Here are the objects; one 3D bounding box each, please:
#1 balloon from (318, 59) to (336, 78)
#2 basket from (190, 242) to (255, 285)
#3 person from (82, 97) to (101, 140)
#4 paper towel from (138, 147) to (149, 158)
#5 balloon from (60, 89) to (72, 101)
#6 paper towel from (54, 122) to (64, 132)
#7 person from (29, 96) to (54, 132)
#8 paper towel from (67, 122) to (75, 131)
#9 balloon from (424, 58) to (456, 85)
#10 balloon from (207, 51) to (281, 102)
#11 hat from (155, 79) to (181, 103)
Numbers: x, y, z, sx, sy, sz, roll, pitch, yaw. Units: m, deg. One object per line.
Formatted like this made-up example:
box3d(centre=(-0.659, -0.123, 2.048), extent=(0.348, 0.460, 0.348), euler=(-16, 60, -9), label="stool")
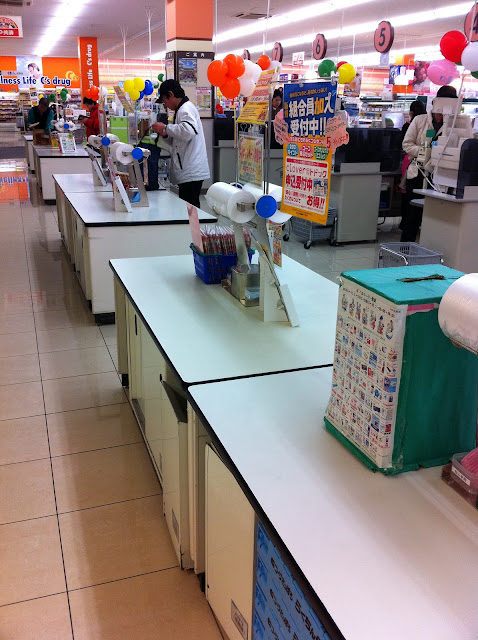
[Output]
box3d(centre=(1.445, -4.133, 7.405), extent=(0.233, 0.305, 0.732), euler=(2, 23, 7), label="balloon")
box3d(centre=(-0.099, -0.278, 2.532), extent=(0.321, 0.240, 0.442), euler=(-2, 15, -18), label="basket")
box3d(centre=(-3.249, -4.448, 9.893), extent=(0.339, 0.831, 2.415), euler=(-7, 23, -16), label="person")
box3d(centre=(-0.852, -1.509, 4.038), extent=(0.074, 0.062, 0.110), euler=(-13, 41, -18), label="paper towel")
box3d(centre=(-4.279, -5.502, 11.056), extent=(0.166, 0.300, 0.701), euler=(-9, 24, -21), label="balloon")
box3d(centre=(-3.830, -4.122, 9.653), extent=(0.148, 0.200, 0.429), euler=(-8, 23, -19), label="paper towel")
box3d(centre=(-5.110, -5.242, 11.581), extent=(0.603, 0.879, 1.323), euler=(-11, 24, -25), label="person")
box3d(centre=(-3.656, -4.155, 9.753), extent=(0.159, 0.185, 0.576), euler=(-6, 23, -13), label="paper towel")
box3d(centre=(3.103, -3.729, 6.817), extent=(0.445, 0.362, 0.314), euler=(3, 21, 8), label="balloon")
box3d(centre=(0.004, -1.294, 2.406), extent=(0.266, 0.217, 0.356), euler=(-14, 25, -29), label="balloon")
box3d(centre=(-0.755, -2.471, 4.842), extent=(0.169, 0.155, 0.257), euler=(-11, 49, -14), label="hat")
